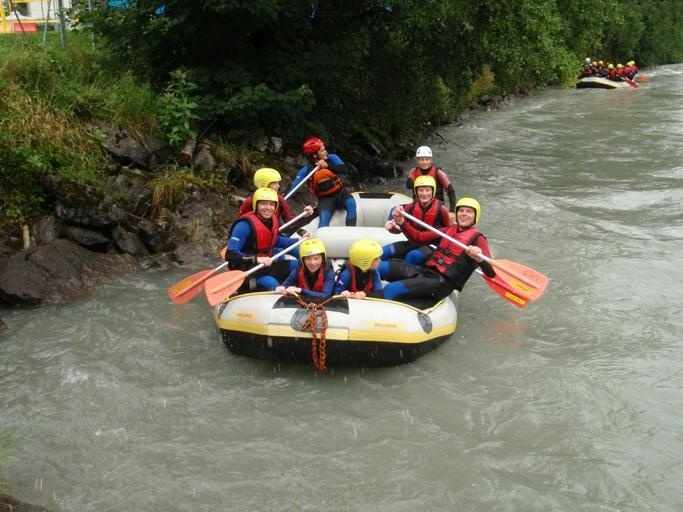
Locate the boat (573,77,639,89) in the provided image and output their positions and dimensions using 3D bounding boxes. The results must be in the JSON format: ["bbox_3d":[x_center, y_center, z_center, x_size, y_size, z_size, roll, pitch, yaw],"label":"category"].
[{"bbox_3d":[12.577,-8.245,35.666,2.697,0.614,1.931,2,12,15],"label":"boat"}]

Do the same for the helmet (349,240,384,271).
[{"bbox_3d":[0.282,-0.028,9.985,0.477,0.336,0.322,6,21,-4],"label":"helmet"}]

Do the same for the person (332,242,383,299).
[{"bbox_3d":[0.219,0.219,10.134,0.505,0.684,0.584,31,32,32],"label":"person"}]

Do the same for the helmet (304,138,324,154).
[{"bbox_3d":[-0.522,-1.865,12.806,0.334,0.267,0.432,-5,13,-15],"label":"helmet"}]

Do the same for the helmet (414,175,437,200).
[{"bbox_3d":[1.272,-1.090,11.466,0.295,0.313,0.363,3,26,8],"label":"helmet"}]

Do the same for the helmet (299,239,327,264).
[{"bbox_3d":[-0.400,-0.066,9.884,0.252,0.278,0.317,-8,-23,-2],"label":"helmet"}]

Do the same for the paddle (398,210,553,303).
[{"bbox_3d":[1.970,0.052,11.223,1.853,0.383,0.081,29,-5,10],"label":"paddle"}]

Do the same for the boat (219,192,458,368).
[{"bbox_3d":[0.191,0.523,10.589,2.789,1.473,2.945,3,13,21],"label":"boat"}]

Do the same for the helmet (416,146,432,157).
[{"bbox_3d":[1.380,-1.754,12.635,0.222,0.171,0.329,1,12,11],"label":"helmet"}]

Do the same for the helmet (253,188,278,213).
[{"bbox_3d":[-1.056,-0.810,10.515,0.294,0.310,0.369,10,-28,-25],"label":"helmet"}]

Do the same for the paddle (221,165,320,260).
[{"bbox_3d":[-1.071,-0.427,11.809,1.136,1.945,0.669,-13,6,0],"label":"paddle"}]

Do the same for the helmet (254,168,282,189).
[{"bbox_3d":[-1.256,-1.259,11.821,0.498,0.293,0.336,12,24,17],"label":"helmet"}]

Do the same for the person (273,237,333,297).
[{"bbox_3d":[-0.408,0.156,9.821,0.637,0.780,0.850,7,30,10],"label":"person"}]
